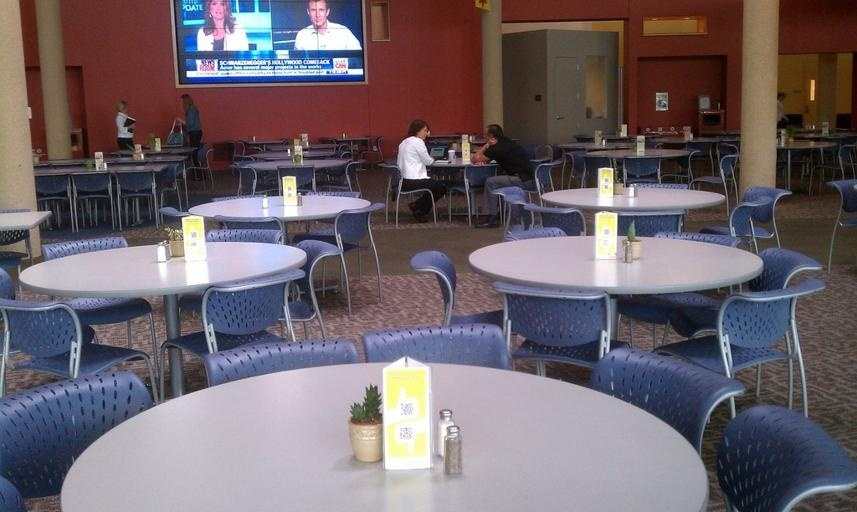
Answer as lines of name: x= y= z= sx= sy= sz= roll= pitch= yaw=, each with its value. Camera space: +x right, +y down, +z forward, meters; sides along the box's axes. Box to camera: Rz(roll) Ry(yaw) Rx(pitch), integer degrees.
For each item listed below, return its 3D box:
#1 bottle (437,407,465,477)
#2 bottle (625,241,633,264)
bottle: x=0.090 y=0.778 z=2.944 sx=0.082 sy=0.212 sz=0.233 roll=-2 pitch=4 yaw=-8
bottle: x=1.344 y=-0.028 z=4.827 sx=0.055 sy=0.137 sz=0.049 roll=-1 pitch=11 yaw=16
